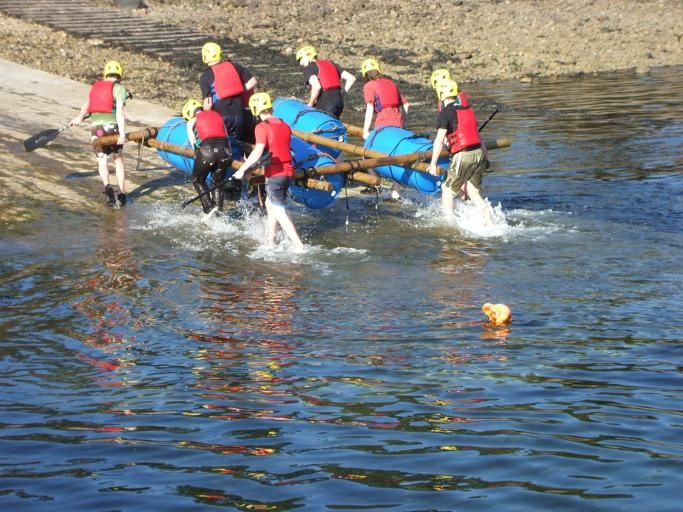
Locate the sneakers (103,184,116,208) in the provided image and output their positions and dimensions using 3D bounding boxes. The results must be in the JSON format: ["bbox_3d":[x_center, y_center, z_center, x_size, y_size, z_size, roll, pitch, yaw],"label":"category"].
[{"bbox_3d":[-3.785,-1.006,17.199,0.201,0.373,0.182,-24,31,-6],"label":"sneakers"}]

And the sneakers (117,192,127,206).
[{"bbox_3d":[-3.613,-0.945,17.252,0.210,0.137,0.265,-8,11,-12],"label":"sneakers"}]

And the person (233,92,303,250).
[{"bbox_3d":[-1.012,-1.221,15.268,0.889,2.275,0.937,15,19,33],"label":"person"}]

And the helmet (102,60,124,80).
[{"bbox_3d":[-3.710,-3.028,17.079,0.267,0.234,0.369,-1,12,-17],"label":"helmet"}]

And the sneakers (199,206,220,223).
[{"bbox_3d":[-2.102,-0.674,16.827,0.334,0.071,0.234,-28,3,7],"label":"sneakers"}]
